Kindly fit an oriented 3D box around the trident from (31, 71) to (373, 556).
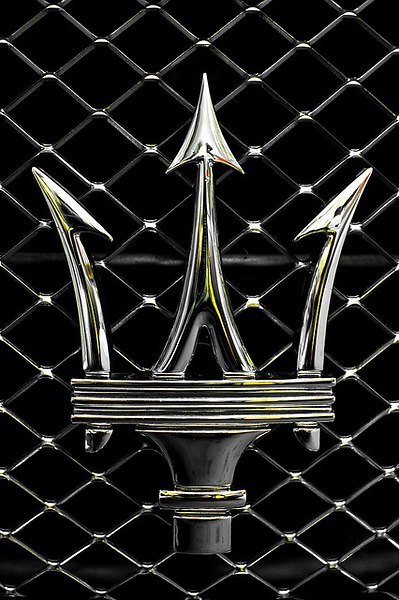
[{"bbox_3d":[-0.018,0.017,1.114,0.289,0.347,0.248,17,-33,-24],"label":"trident"}]
